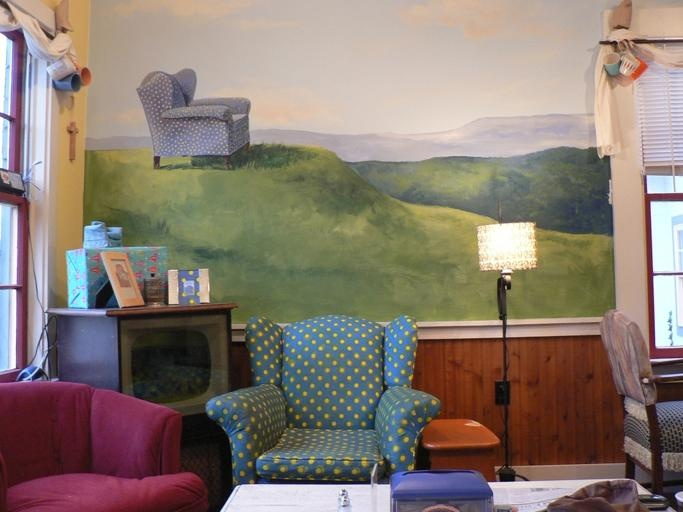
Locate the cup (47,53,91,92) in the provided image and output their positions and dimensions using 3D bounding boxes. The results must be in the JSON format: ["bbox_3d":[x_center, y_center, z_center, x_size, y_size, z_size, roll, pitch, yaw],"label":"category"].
[{"bbox_3d":[-1.812,-1.216,5.243,0.182,0.149,0.326,-3,-1,10],"label":"cup"}]

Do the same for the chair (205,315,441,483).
[{"bbox_3d":[-0.079,0.937,5.156,1.185,1.269,1.027,1,-15,1],"label":"chair"}]

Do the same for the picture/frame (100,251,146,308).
[{"bbox_3d":[-1.331,0.140,4.845,0.164,0.243,0.239,-3,-1,31],"label":"picture/frame"}]

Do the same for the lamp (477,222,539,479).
[{"bbox_3d":[1.130,0.654,5.242,0.363,1.579,0.496,-2,-1,11],"label":"lamp"}]

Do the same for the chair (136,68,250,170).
[{"bbox_3d":[-1.053,-1.010,5.767,0.703,0.726,0.661,1,20,-2],"label":"chair"}]
